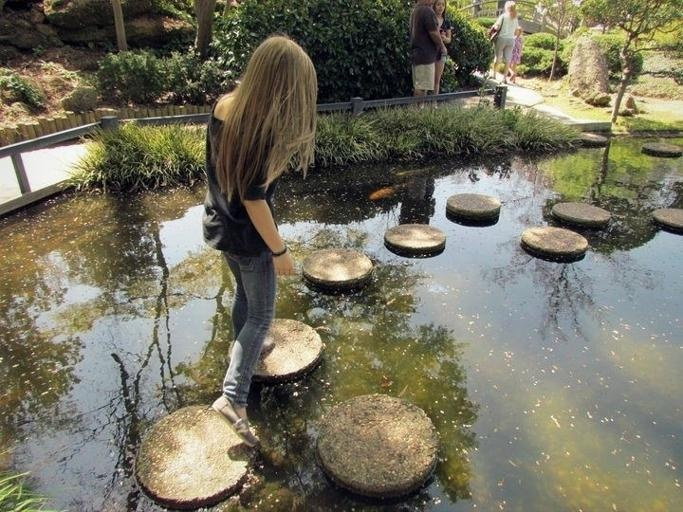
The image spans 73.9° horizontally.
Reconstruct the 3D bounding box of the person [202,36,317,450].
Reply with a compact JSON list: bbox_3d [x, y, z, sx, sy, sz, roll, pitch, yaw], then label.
[{"bbox_3d":[-0.539,-0.014,3.135,0.813,2.637,0.875,-5,28,-13],"label":"person"}]

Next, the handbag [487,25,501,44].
[{"bbox_3d":[4.287,-6.186,12.633,0.203,0.360,0.395,7,59,-13],"label":"handbag"}]

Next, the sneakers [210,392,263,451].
[{"bbox_3d":[-0.753,1.154,3.319,0.215,0.563,0.185,-38,14,-14],"label":"sneakers"}]
